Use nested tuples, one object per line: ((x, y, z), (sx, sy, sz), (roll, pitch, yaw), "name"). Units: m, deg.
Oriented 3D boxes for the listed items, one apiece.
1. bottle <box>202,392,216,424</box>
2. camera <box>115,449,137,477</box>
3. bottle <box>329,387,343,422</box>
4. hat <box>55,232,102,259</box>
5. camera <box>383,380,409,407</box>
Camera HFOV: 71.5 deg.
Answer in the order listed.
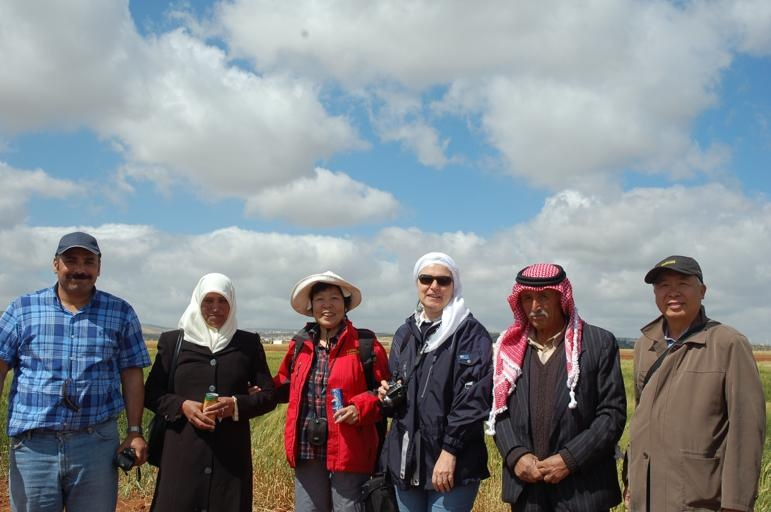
((-2.323, 1.987, 7.125), (0.188, 0.352, 0.264), (2, -11, -20), "bottle")
((-3.327, 2.665, 6.931), (0.220, 0.308, 0.317), (8, 5, -2), "camera")
((-0.642, 1.951, 7.106), (0.161, 0.381, 0.158), (-1, -10, 0), "bottle")
((-3.846, -0.177, 6.726), (0.468, 0.285, 0.673), (5, -13, -30), "hat")
((0.124, 1.754, 6.813), (0.230, 0.321, 0.306), (23, -37, 33), "camera")
